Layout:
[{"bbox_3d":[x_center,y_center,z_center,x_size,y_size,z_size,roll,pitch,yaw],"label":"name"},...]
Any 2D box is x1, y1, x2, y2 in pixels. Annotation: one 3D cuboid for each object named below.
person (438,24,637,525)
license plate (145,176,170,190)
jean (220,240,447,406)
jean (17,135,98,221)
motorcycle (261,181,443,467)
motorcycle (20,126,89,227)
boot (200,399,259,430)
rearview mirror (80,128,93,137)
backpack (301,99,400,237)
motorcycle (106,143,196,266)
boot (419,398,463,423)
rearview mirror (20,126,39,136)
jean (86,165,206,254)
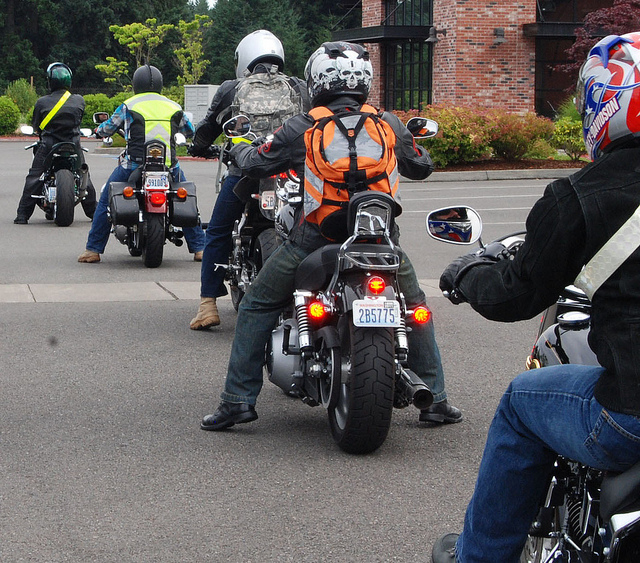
[{"bbox_3d":[0.594,0.052,1.983,0.439,1.465,0.633,2,11,7],"label":"person"},{"bbox_3d":[-2.222,-1.331,9.720,0.213,0.215,0.052,1,-16,-1],"label":"license plate"},{"bbox_3d":[-0.057,0.175,4.321,0.835,1.239,1.954,3,-4,-21],"label":"jean"},{"bbox_3d":[-5.421,-2.195,14.860,1.304,1.540,2.425,0,10,-16],"label":"jean"},{"bbox_3d":[0.185,0.258,4.212,0.946,1.125,1.755,3,8,-11],"label":"motorcycle"},{"bbox_3d":[-4.997,-1.896,14.019,0.973,1.623,1.139,-10,15,-43],"label":"motorcycle"},{"bbox_3d":[-0.582,0.860,4.698,0.402,0.199,0.162,-6,4,30],"label":"boot"},{"bbox_3d":[-4.459,-2.816,13.649,0.275,0.124,0.385,0,7,-7],"label":"rearview mirror"},{"bbox_3d":[0.172,-0.686,4.350,0.582,0.778,0.433,-6,17,-6],"label":"backpack"},{"bbox_3d":[-2.410,-1.077,10.207,1.130,1.748,1.168,-4,12,-21],"label":"motorcycle"},{"bbox_3d":[0.803,0.860,4.826,0.288,0.212,0.129,-4,5,-37],"label":"boot"},{"bbox_3d":[-5.421,-2.806,13.431,0.154,0.251,0.492,-4,9,-34],"label":"rearview mirror"},{"bbox_3d":[-2.735,-1.269,11.254,1.155,1.315,2.258,2,18,-12],"label":"jean"}]
